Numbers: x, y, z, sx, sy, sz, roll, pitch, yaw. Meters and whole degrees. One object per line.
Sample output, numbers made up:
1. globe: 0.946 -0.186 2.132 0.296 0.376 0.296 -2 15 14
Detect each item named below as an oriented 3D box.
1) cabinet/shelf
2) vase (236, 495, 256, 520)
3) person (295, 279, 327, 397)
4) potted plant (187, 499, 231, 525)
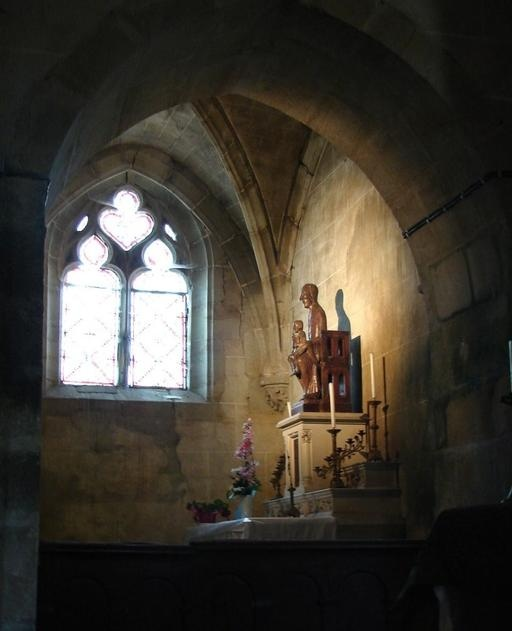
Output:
1. cabinet/shelf: 0.602 1.102 6.712 0.539 0.585 0.655 -7 -11 -8
2. vase: -0.090 1.574 6.731 0.113 0.186 0.357 0 -10 -4
3. person: 0.473 0.198 6.855 0.224 0.987 0.367 -1 -10 2
4. potted plant: -0.424 1.765 7.375 0.293 0.204 0.347 6 -12 -35
